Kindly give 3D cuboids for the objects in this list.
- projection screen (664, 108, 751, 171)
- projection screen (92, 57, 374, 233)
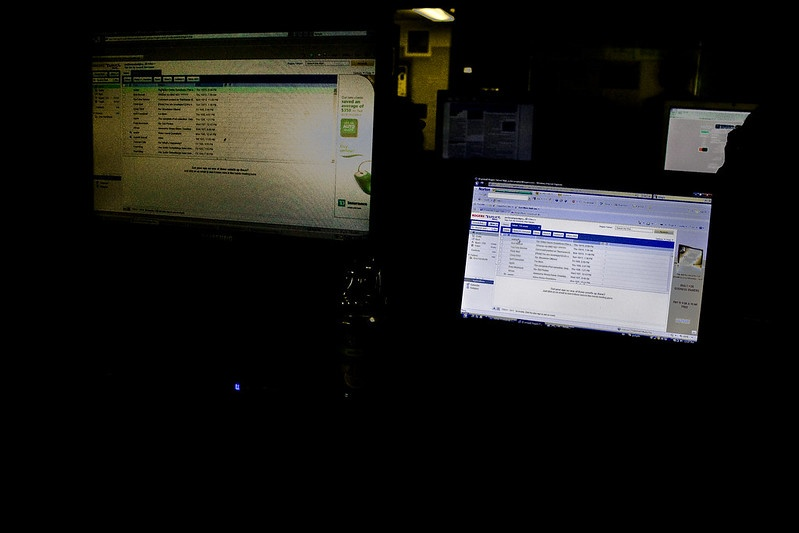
[{"bbox_3d":[0.932,-0.403,1.959,0.310,0.195,0.023,-1,7,-17],"label":"projection screen"},{"bbox_3d":[-0.514,-0.407,1.856,1.030,0.531,0.007,7,12,24],"label":"projection screen"}]
